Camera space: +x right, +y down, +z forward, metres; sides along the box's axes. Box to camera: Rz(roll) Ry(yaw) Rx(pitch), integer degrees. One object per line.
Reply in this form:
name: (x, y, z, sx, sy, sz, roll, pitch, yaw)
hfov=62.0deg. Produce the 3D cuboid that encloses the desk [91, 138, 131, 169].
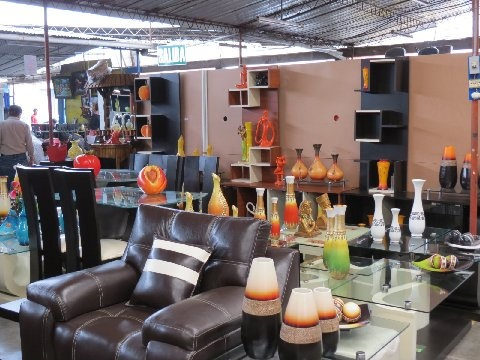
desk: (-2.506, -0.542, 7.871, 0.764, 0.810, 0.541, 2, 3, 21)

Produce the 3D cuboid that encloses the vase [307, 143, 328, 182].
vase: (1.167, -0.249, 5.958, 0.271, 0.565, 0.185, -1, 9, 4)

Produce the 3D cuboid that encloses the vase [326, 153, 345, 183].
vase: (1.438, -0.183, 5.996, 0.234, 0.427, 0.483, 1, 9, 15)

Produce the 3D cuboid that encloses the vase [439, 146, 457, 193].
vase: (2.743, -0.142, 5.249, 0.208, 0.585, 0.204, 3, 10, 29)

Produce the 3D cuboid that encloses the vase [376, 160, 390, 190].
vase: (1.982, -0.074, 5.509, 0.140, 0.407, 0.162, 2, 9, 21)

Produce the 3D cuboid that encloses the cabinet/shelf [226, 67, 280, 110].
cabinet/shelf: (0.259, -1.526, 6.648, 0.710, 0.529, 0.218, 5, 6, 44)

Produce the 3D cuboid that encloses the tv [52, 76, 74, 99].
tv: (-7.031, -3.680, 15.823, 0.915, 0.908, 0.328, 2, 10, 24)

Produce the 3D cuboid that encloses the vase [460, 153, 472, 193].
vase: (2.898, -0.085, 5.126, 0.108, 0.492, 0.209, 3, 10, 29)

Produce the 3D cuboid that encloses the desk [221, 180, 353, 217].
desk: (0.718, 0.426, 6.229, 1.779, 0.716, 0.524, 2, 13, 8)

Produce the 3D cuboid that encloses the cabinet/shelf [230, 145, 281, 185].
cabinet/shelf: (0.293, -0.237, 6.628, 0.590, 0.463, 0.217, 4, 6, 40)

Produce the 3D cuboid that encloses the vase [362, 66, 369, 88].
vase: (1.792, -1.453, 5.701, 0.122, 0.293, 0.090, 6, 12, 41)

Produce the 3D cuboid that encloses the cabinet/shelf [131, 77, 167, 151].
cabinet/shelf: (-1.775, -1.269, 7.823, 0.758, 1.434, 0.407, 5, 11, 38)

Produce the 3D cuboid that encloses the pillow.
pillow: (-0.451, 0.602, 2.601, 0.430, 0.471, 0.148, 11, -7, 29)

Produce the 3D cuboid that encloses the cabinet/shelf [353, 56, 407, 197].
cabinet/shelf: (2.047, -0.792, 5.730, 0.710, 1.892, 0.521, 2, 10, 25)

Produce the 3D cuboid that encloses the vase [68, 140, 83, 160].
vase: (-2.181, -0.396, 5.277, 0.156, 0.244, 0.360, -6, 10, -26)
